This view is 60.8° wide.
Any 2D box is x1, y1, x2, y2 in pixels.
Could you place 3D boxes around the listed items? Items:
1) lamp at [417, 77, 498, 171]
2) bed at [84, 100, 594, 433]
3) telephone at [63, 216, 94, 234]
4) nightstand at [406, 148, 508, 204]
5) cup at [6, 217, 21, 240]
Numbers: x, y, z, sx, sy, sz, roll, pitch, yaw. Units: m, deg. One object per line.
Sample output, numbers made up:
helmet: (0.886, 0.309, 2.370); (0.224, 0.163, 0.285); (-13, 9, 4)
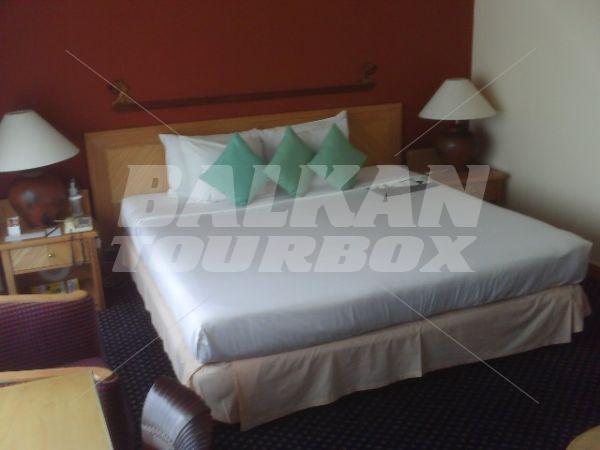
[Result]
lamp: (1.537, -0.987, 5.059); (0.729, 0.901, 0.754); (-5, 17, -4)
bed: (-0.169, 0.479, 3.971); (2.584, 1.121, 2.570); (-13, 32, -22)
telephone: (-1.724, 0.004, 3.963); (0.151, 0.071, 0.158); (-6, 19, -16)
nightstand: (1.538, -0.641, 5.036); (0.793, 0.821, 0.608); (-12, 22, -36)
cup: (-2.189, 0.019, 3.894); (0.108, 0.150, 0.251); (-16, 19, -27)
